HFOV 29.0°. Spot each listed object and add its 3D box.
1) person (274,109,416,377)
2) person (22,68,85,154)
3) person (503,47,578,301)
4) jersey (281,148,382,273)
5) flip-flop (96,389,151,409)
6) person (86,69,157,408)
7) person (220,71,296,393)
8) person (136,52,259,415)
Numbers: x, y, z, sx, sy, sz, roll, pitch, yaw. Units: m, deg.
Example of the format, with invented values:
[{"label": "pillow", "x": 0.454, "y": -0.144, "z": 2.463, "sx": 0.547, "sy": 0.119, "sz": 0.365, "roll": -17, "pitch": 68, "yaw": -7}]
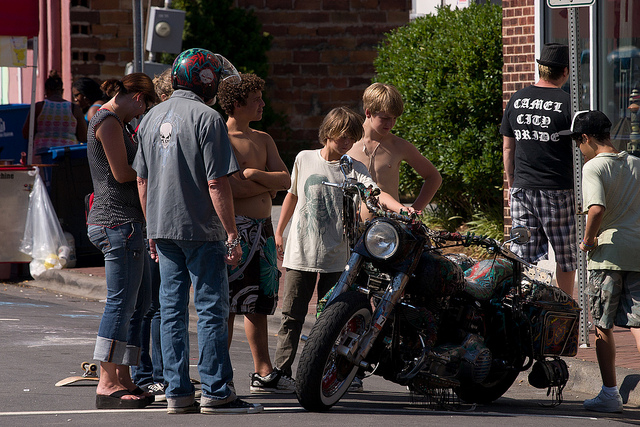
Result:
[{"label": "person", "x": 0.067, "y": 0.191, "z": 13.122, "sx": 1.351, "sy": 2.881, "sz": 1.104, "roll": -1, "pitch": 1, "yaw": -37}, {"label": "person", "x": -4.002, "y": -1.563, "z": 18.903, "sx": 0.888, "sy": 1.290, "sz": 0.864, "roll": 2, "pitch": 2, "yaw": -13}, {"label": "person", "x": 2.637, "y": -0.258, "z": 14.471, "sx": 1.060, "sy": 3.349, "sz": 0.978, "roll": 0, "pitch": 10, "yaw": 2}, {"label": "jersey", "x": 0.156, "y": -0.014, "z": 12.648, "sx": 1.160, "sy": 1.334, "sz": 0.605, "roll": 4, "pitch": 5, "yaw": -7}, {"label": "flip-flop", "x": -1.948, "y": 1.852, "z": 12.266, "sx": 0.379, "sy": 0.151, "sz": 0.211, "roll": 1, "pitch": -1, "yaw": -2}, {"label": "person", "x": -1.894, "y": 0.229, "z": 12.543, "sx": 1.051, "sy": 3.332, "sz": 0.943, "roll": 0, "pitch": 0, "yaw": 9}, {"label": "person", "x": -0.689, "y": 0.208, "z": 13.008, "sx": 0.931, "sy": 3.364, "sz": 0.954, "roll": -7, "pitch": 1, "yaw": -11}, {"label": "person", "x": -1.210, "y": 0.191, "z": 11.995, "sx": 1.082, "sy": 3.545, "sz": 0.396, "roll": 4, "pitch": 2, "yaw": 21}]
